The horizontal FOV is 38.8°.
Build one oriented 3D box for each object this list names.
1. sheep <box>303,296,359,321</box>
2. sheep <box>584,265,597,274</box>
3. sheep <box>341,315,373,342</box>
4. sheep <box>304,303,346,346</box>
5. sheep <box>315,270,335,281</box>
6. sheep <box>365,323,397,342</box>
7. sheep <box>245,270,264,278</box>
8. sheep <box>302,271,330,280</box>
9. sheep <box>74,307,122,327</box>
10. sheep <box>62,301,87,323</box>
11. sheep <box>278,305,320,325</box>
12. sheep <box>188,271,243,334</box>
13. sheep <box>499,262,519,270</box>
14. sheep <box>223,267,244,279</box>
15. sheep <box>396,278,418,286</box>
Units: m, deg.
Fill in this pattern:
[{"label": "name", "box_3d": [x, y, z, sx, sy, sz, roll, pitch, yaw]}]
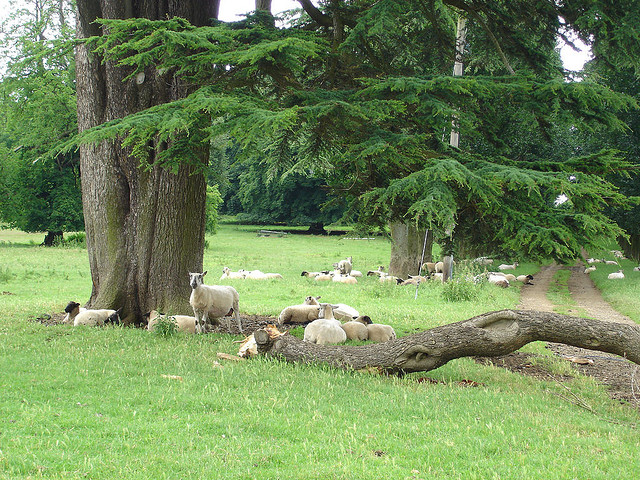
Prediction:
[{"label": "sheep", "box_3d": [0.251, 1.951, 25.062, 1.443, 0.800, 0.620, 16, -4, 10]}, {"label": "sheep", "box_3d": [13.242, 1.483, 44.676, 0.626, 0.323, 0.197, -21, 17, -9]}, {"label": "sheep", "box_3d": [1.085, 2.248, 22.996, 1.027, 0.589, 0.354, -3, -6, 32]}, {"label": "sheep", "box_3d": [0.259, 2.224, 22.501, 0.584, 0.698, 1.442, 3, 40, -20]}, {"label": "sheep", "box_3d": [0.118, 1.387, 35.153, 0.624, 0.355, 0.336, -3, 4, 13]}, {"label": "sheep", "box_3d": [1.543, 2.352, 23.023, 0.692, 0.494, 0.351, 5, 2, 28]}, {"label": "sheep", "box_3d": [-2.608, 1.339, 35.541, 0.777, 0.439, 0.263, 4, 8, -10]}, {"label": "sheep", "box_3d": [-0.217, 1.412, 36.560, 1.052, 0.589, 0.395, 0, -2, 9]}, {"label": "sheep", "box_3d": [-5.679, 2.009, 23.567, 1.340, 0.788, 0.406, 0, 2, -41]}, {"label": "sheep", "box_3d": [-6.498, 1.892, 23.665, 0.384, 0.542, 0.693, -1, -5, 20]}, {"label": "sheep", "box_3d": [-0.590, 2.105, 25.192, 1.334, 0.690, 0.454, -3, 5, -8]}, {"label": "sheep", "box_3d": [-2.832, 1.695, 23.551, 0.748, 1.576, 2.104, -2, -6, 30]}, {"label": "sheep", "box_3d": [9.027, 1.281, 43.618, 0.892, 0.531, 0.410, -2, 5, -15]}, {"label": "sheep", "box_3d": [-3.468, 1.360, 35.785, 0.885, 0.515, 0.323, 15, 0, -1]}, {"label": "sheep", "box_3d": [3.208, 1.587, 33.956, 0.783, 0.463, 0.267, 2, 4, 7]}]
